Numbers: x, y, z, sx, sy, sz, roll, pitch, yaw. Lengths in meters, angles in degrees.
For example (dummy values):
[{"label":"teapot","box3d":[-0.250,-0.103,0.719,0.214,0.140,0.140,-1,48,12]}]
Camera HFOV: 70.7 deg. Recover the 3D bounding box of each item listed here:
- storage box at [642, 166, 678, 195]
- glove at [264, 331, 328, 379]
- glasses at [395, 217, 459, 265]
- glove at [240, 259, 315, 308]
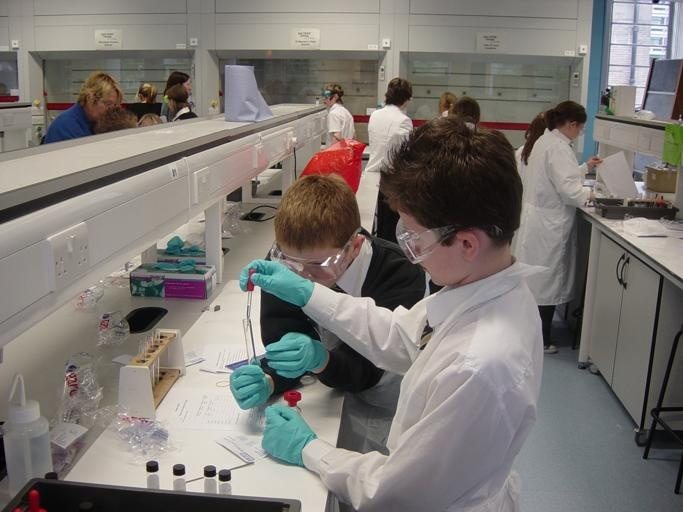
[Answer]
[{"label":"storage box","box3d":[2.392,-0.569,3.607,0.178,0.125,0.195,3,17,14]},{"label":"glove","box3d":[-0.139,0.291,1.415,0.137,0.158,0.206,2,5,13]},{"label":"glasses","box3d":[0.183,-0.046,1.039,0.098,0.055,0.100,-35,18,-2]},{"label":"glove","box3d":[-0.193,0.086,1.494,0.167,0.102,0.091,22,46,-20]}]
